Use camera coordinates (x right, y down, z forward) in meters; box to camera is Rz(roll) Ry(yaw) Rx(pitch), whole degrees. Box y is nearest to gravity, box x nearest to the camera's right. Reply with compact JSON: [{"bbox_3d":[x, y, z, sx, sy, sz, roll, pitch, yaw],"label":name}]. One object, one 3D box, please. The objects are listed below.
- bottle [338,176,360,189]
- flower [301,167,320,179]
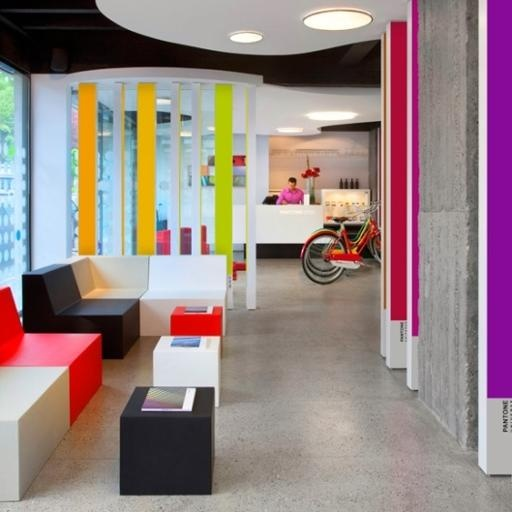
[{"bbox_3d":[2.301,-1.798,12.669,0.490,0.267,0.274,1,5,6],"label":"bottle"},{"bbox_3d":[1.186,-1.799,11.261,0.381,0.263,0.432,-12,2,-11],"label":"flower"}]
